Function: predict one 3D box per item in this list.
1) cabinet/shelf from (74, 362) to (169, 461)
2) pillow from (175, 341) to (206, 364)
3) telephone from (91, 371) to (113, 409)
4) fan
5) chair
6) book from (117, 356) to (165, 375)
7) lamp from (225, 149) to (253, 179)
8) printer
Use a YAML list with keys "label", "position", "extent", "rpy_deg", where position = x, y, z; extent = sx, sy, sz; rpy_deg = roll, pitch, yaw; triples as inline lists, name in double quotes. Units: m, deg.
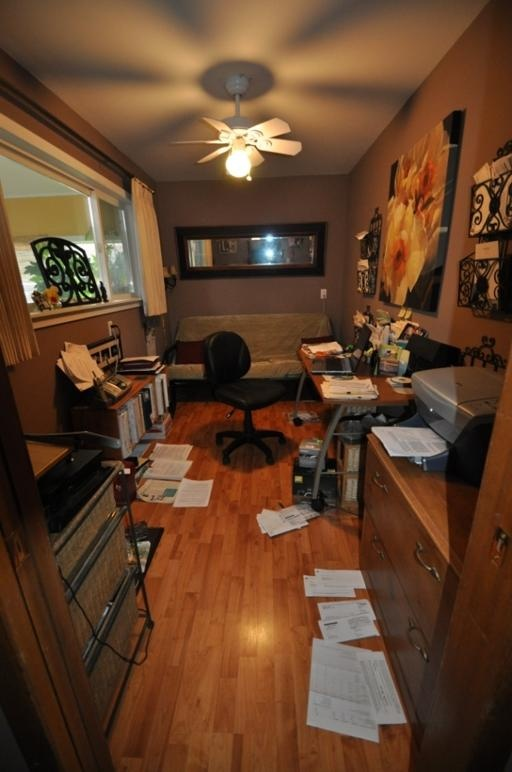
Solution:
- label: "cabinet/shelf"
  position: [-0.808, 0.220, 3.128]
  extent: [0.254, 0.468, 0.857]
  rpy_deg: [-5, 14, 5]
- label: "pillow"
  position: [-0.668, -0.340, 4.560]
  extent: [0.281, 0.185, 0.300]
  rpy_deg: [-5, 16, -9]
- label: "telephone"
  position: [-0.863, 0.027, 2.535]
  extent: [0.099, 0.291, 0.075]
  rpy_deg: [-35, -36, 20]
- label: "fan"
  position: [-0.088, -1.411, 2.477]
  extent: [0.583, 0.530, 0.521]
  rpy_deg: [-2, -1, 40]
- label: "chair"
  position: [-0.065, 0.051, 3.143]
  extent: [0.514, 0.856, 0.616]
  rpy_deg: [0, 16, 8]
- label: "book"
  position: [-0.823, -0.144, 3.214]
  extent: [0.168, 0.060, 0.186]
  rpy_deg: [1, 16, 1]
- label: "lamp"
  position: [-0.094, -1.214, 2.498]
  extent: [0.117, 0.152, 0.299]
  rpy_deg: [-3, 16, -1]
- label: "printer"
  position: [0.625, 0.128, 1.439]
  extent: [0.323, 0.240, 0.261]
  rpy_deg: [-17, 26, -20]
